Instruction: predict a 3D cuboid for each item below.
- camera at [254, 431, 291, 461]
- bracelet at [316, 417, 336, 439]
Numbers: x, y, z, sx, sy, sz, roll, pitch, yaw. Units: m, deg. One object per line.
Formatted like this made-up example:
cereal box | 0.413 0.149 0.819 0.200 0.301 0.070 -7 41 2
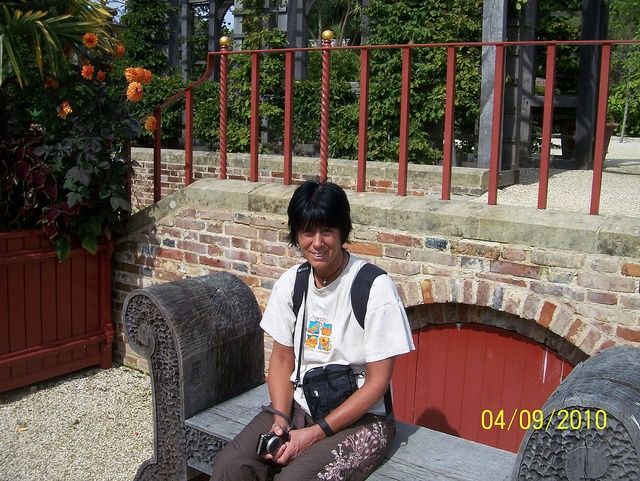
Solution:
camera | -0.212 0.921 2.277 0.108 0.125 0.047 17 5 -28
bracelet | 0.030 0.854 2.332 0.029 0.083 0.067 -37 39 -5
